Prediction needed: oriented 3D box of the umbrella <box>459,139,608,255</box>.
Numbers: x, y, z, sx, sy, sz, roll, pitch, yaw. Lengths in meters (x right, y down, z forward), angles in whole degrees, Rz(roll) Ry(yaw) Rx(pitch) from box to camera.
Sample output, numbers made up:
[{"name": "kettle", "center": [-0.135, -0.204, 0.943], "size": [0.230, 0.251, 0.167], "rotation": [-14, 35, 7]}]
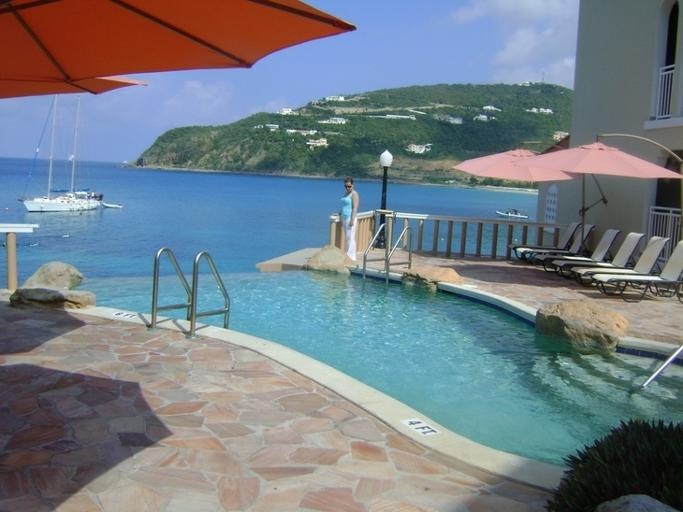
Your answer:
[{"name": "umbrella", "center": [3.553, -1.099, 12.189], "size": [2.930, 1.587, 2.902], "rotation": [19, 24, 39]}]

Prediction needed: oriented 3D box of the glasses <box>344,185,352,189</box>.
[{"name": "glasses", "center": [0.174, -1.637, 12.727], "size": [0.185, 0.050, 0.167], "rotation": [2, 7, 16]}]
